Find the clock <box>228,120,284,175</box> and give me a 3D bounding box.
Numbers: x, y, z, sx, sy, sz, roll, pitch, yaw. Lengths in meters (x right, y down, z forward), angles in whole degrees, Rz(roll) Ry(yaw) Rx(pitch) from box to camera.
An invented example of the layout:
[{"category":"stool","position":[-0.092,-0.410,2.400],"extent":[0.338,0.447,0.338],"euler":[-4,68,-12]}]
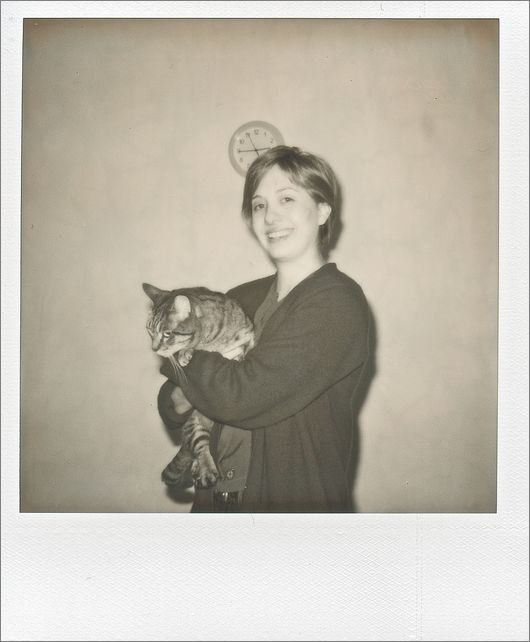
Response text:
[{"category":"clock","position":[-0.025,-0.578,2.425],"extent":[0.180,0.178,0.014],"euler":[-1,5,4]}]
